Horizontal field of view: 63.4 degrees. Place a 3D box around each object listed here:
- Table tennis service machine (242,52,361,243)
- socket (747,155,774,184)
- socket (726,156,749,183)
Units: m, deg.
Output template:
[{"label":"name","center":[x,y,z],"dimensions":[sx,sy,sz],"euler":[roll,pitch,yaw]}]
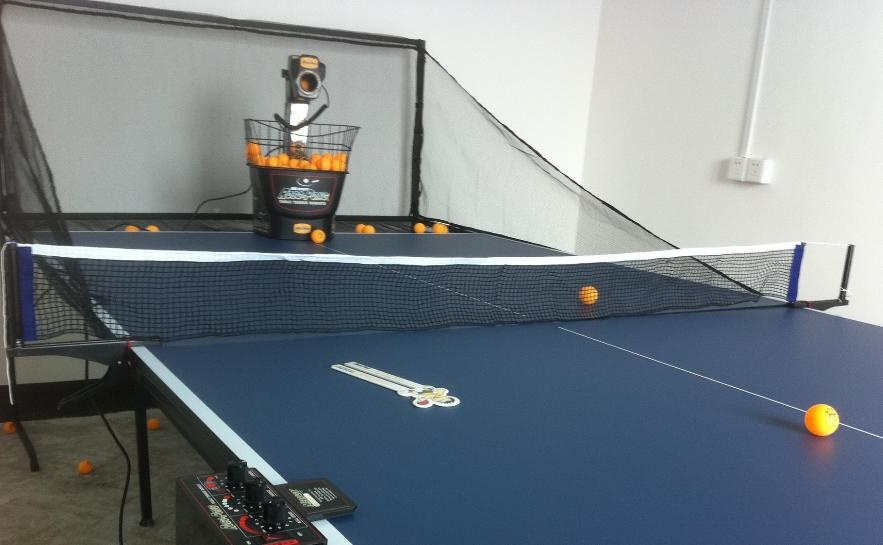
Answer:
[{"label":"Table tennis service machine","center":[-0.684,-0.603,3.437],"dimensions":[0.641,0.842,0.649],"euler":[13,15,31]},{"label":"socket","center":[1.749,-0.571,3.941],"dimensions":[0.136,0.141,0.134],"euler":[14,21,36]},{"label":"socket","center":[1.673,-0.586,4.042],"dimensions":[0.093,0.167,0.125],"euler":[-8,17,-29]}]
